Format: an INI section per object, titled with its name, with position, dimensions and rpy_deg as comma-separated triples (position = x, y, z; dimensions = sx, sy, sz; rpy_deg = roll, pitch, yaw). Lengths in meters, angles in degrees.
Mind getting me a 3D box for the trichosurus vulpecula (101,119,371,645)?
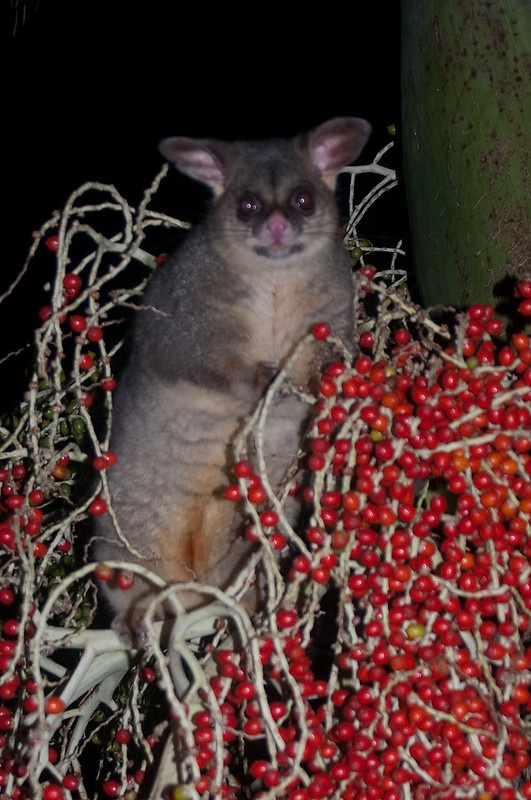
[trichosurus vulpecula]
position = -0.157, -0.032, 2.709
dimensions = 0.672, 1.649, 0.870
rpy_deg = 12, 4, -27
